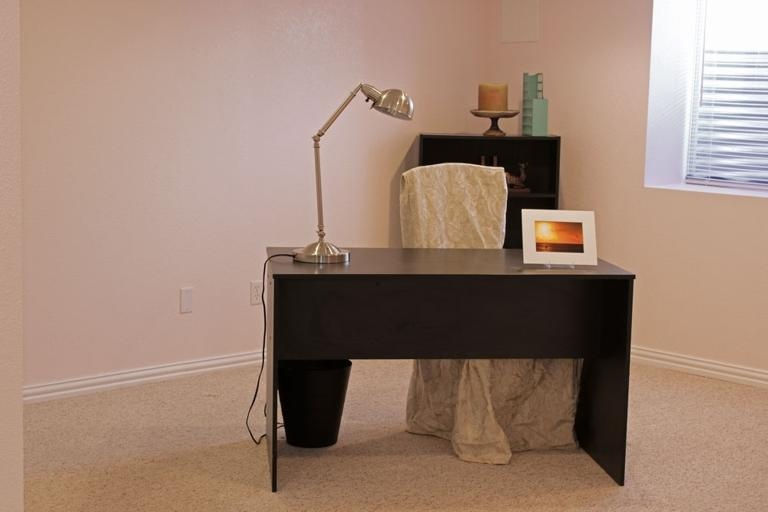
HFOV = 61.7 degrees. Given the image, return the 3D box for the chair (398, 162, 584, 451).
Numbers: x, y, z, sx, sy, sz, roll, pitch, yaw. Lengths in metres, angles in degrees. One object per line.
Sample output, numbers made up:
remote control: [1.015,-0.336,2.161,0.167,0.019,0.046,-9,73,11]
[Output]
chair: [0.694,0.270,4.122,1.148,2.218,1.410,1,1,-4]

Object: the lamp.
lamp: [-0.154,-0.387,2.938,0.538,0.810,0.310,-3,9,-10]

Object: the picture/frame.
picture/frame: [0.788,-0.074,2.891,0.240,0.197,0.041,1,-11,-2]
